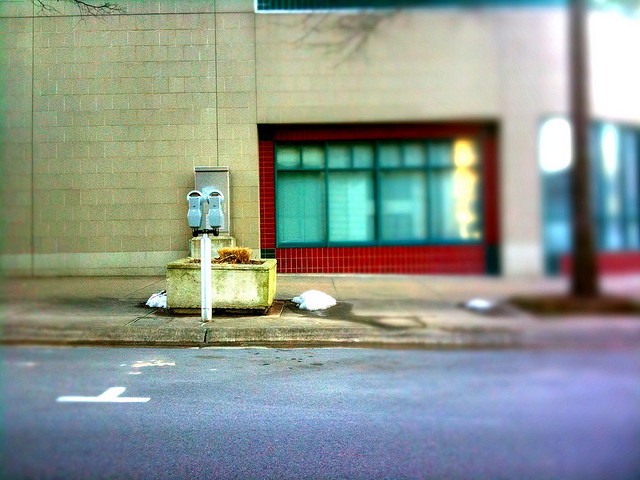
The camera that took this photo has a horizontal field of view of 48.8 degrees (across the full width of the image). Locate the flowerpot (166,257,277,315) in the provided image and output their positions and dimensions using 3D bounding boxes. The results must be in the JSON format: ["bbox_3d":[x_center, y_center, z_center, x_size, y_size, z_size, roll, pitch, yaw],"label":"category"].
[{"bbox_3d":[-1.468,0.683,10.473,1.586,0.790,0.760,-2,9,-10],"label":"flowerpot"}]

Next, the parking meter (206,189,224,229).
[{"bbox_3d":[-1.446,-0.408,9.796,0.264,0.560,0.211,-5,-17,4],"label":"parking meter"}]

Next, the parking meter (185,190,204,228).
[{"bbox_3d":[-1.792,-0.423,10.181,0.237,0.590,0.948,-2,9,-10],"label":"parking meter"}]
